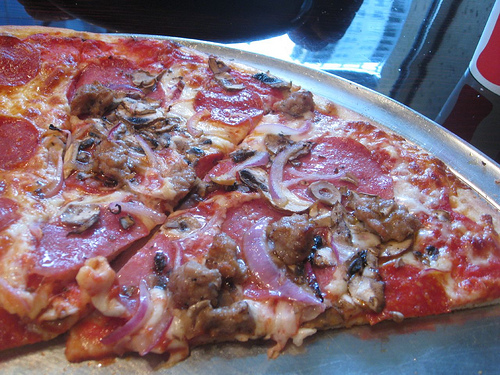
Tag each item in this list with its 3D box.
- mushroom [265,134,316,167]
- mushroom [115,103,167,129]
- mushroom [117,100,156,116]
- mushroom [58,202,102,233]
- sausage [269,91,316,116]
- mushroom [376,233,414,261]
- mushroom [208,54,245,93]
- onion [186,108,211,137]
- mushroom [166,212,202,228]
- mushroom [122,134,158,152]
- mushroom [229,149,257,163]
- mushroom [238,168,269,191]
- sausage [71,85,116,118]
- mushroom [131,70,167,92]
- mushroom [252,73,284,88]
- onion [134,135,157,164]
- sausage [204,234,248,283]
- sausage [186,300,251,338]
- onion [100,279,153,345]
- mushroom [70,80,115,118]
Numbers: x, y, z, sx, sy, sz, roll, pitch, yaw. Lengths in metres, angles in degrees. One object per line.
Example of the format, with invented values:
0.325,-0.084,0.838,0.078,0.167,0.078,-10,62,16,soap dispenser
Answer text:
0.193,-0.225,2.846,0.197,0.061,0.198,-20,46,-14,mushroom
-0.605,-0.410,2.881,0.150,0.044,0.172,14,30,9,mushroom
-0.646,-0.448,2.901,0.169,0.048,0.102,5,39,-4,mushroom
-0.813,0.132,2.467,0.182,0.057,0.192,-12,34,-26,mushroom
0.261,-0.509,3.091,0.185,0.071,0.148,7,45,16,sausage
0.698,0.298,2.507,0.032,0.159,0.118,45,49,-25,mushroom
-0.177,-0.728,3.259,0.102,0.208,0.055,9,64,14,mushroom
-0.307,-0.364,2.921,0.125,0.038,0.251,21,46,3,onion
-0.324,0.170,2.506,0.085,0.027,0.087,8,31,12,mushroom
-0.594,-0.236,2.747,0.114,0.034,0.111,34,39,7,mushroom
-0.050,-0.174,2.775,0.108,0.026,0.065,-14,39,-1,mushroom
0.019,-0.043,2.663,0.143,0.039,0.096,38,42,6,mushroom
-0.883,-0.473,2.877,0.189,0.076,0.185,-33,69,-21,sausage
-0.645,-0.678,3.174,0.188,0.074,0.169,16,38,2,mushroom
0.123,-0.687,3.289,0.156,0.034,0.103,29,21,32,mushroom
-0.562,-0.208,2.768,0.062,0.028,0.237,-33,58,0,onion
-0.114,0.329,2.369,0.195,0.066,0.191,36,32,-39,sausage
-0.147,0.556,2.356,0.105,0.285,0.198,31,68,-1,sausage
-0.520,0.547,2.259,0.181,0.243,0.063,18,-9,45,onion
-0.888,-0.476,2.901,0.218,0.085,0.168,-36,88,-13,mushroom
